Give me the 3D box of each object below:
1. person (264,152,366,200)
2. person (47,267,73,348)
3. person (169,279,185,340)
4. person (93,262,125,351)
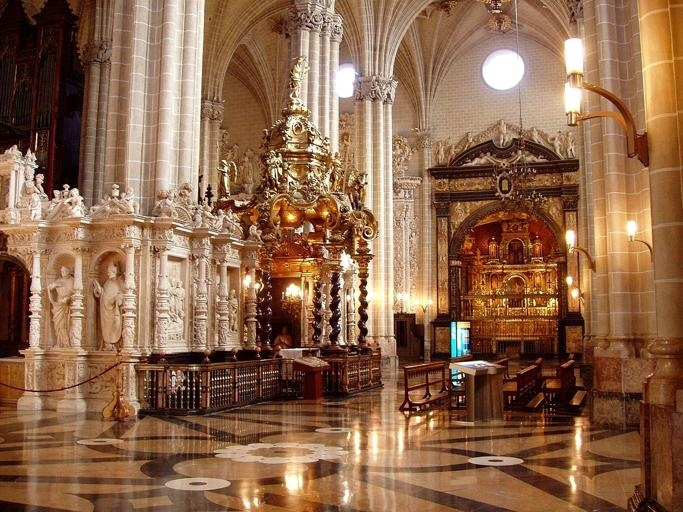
[{"bbox_3d":[-0.582,-2.113,18.982,1.032,1.252,2.892,-8,-10,44],"label":"person"},{"bbox_3d":[-5.596,1.030,14.322,0.625,1.587,0.223,-5,-9,31],"label":"person"},{"bbox_3d":[-3.391,1.120,14.747,0.155,1.299,0.582,-2,-8,14],"label":"person"},{"bbox_3d":[-4.534,0.965,14.093,0.863,1.712,0.320,-6,-9,35],"label":"person"}]
